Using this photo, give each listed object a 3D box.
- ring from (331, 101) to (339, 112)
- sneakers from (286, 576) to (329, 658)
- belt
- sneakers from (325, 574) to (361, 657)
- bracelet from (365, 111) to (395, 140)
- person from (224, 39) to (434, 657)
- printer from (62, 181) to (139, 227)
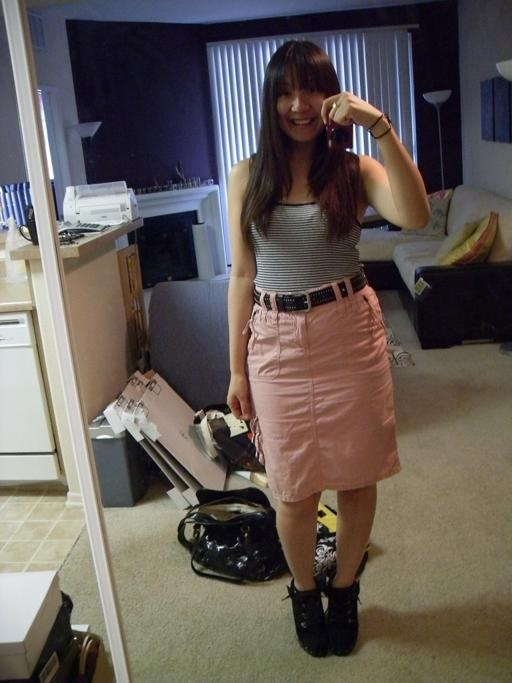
[{"bbox_3d":[0.106,-0.316,0.660,0.003,0.009,0.006,12,22,-33],"label":"ring"},{"bbox_3d":[0.096,0.502,0.902,0.044,0.053,0.134,-6,35,-1],"label":"sneakers"},{"bbox_3d":[0.078,-0.076,0.773,0.185,0.046,0.082,-1,20,14],"label":"belt"},{"bbox_3d":[0.155,0.484,0.889,0.042,0.053,0.135,-2,44,8],"label":"sneakers"},{"bbox_3d":[0.164,-0.281,0.657,0.015,0.038,0.026,12,25,-52],"label":"bracelet"},{"bbox_3d":[0.097,0.066,0.819,0.349,1.014,0.202,1,20,20],"label":"person"},{"bbox_3d":[-0.670,-0.568,2.041,0.319,0.156,0.261,-8,20,-7],"label":"printer"}]
